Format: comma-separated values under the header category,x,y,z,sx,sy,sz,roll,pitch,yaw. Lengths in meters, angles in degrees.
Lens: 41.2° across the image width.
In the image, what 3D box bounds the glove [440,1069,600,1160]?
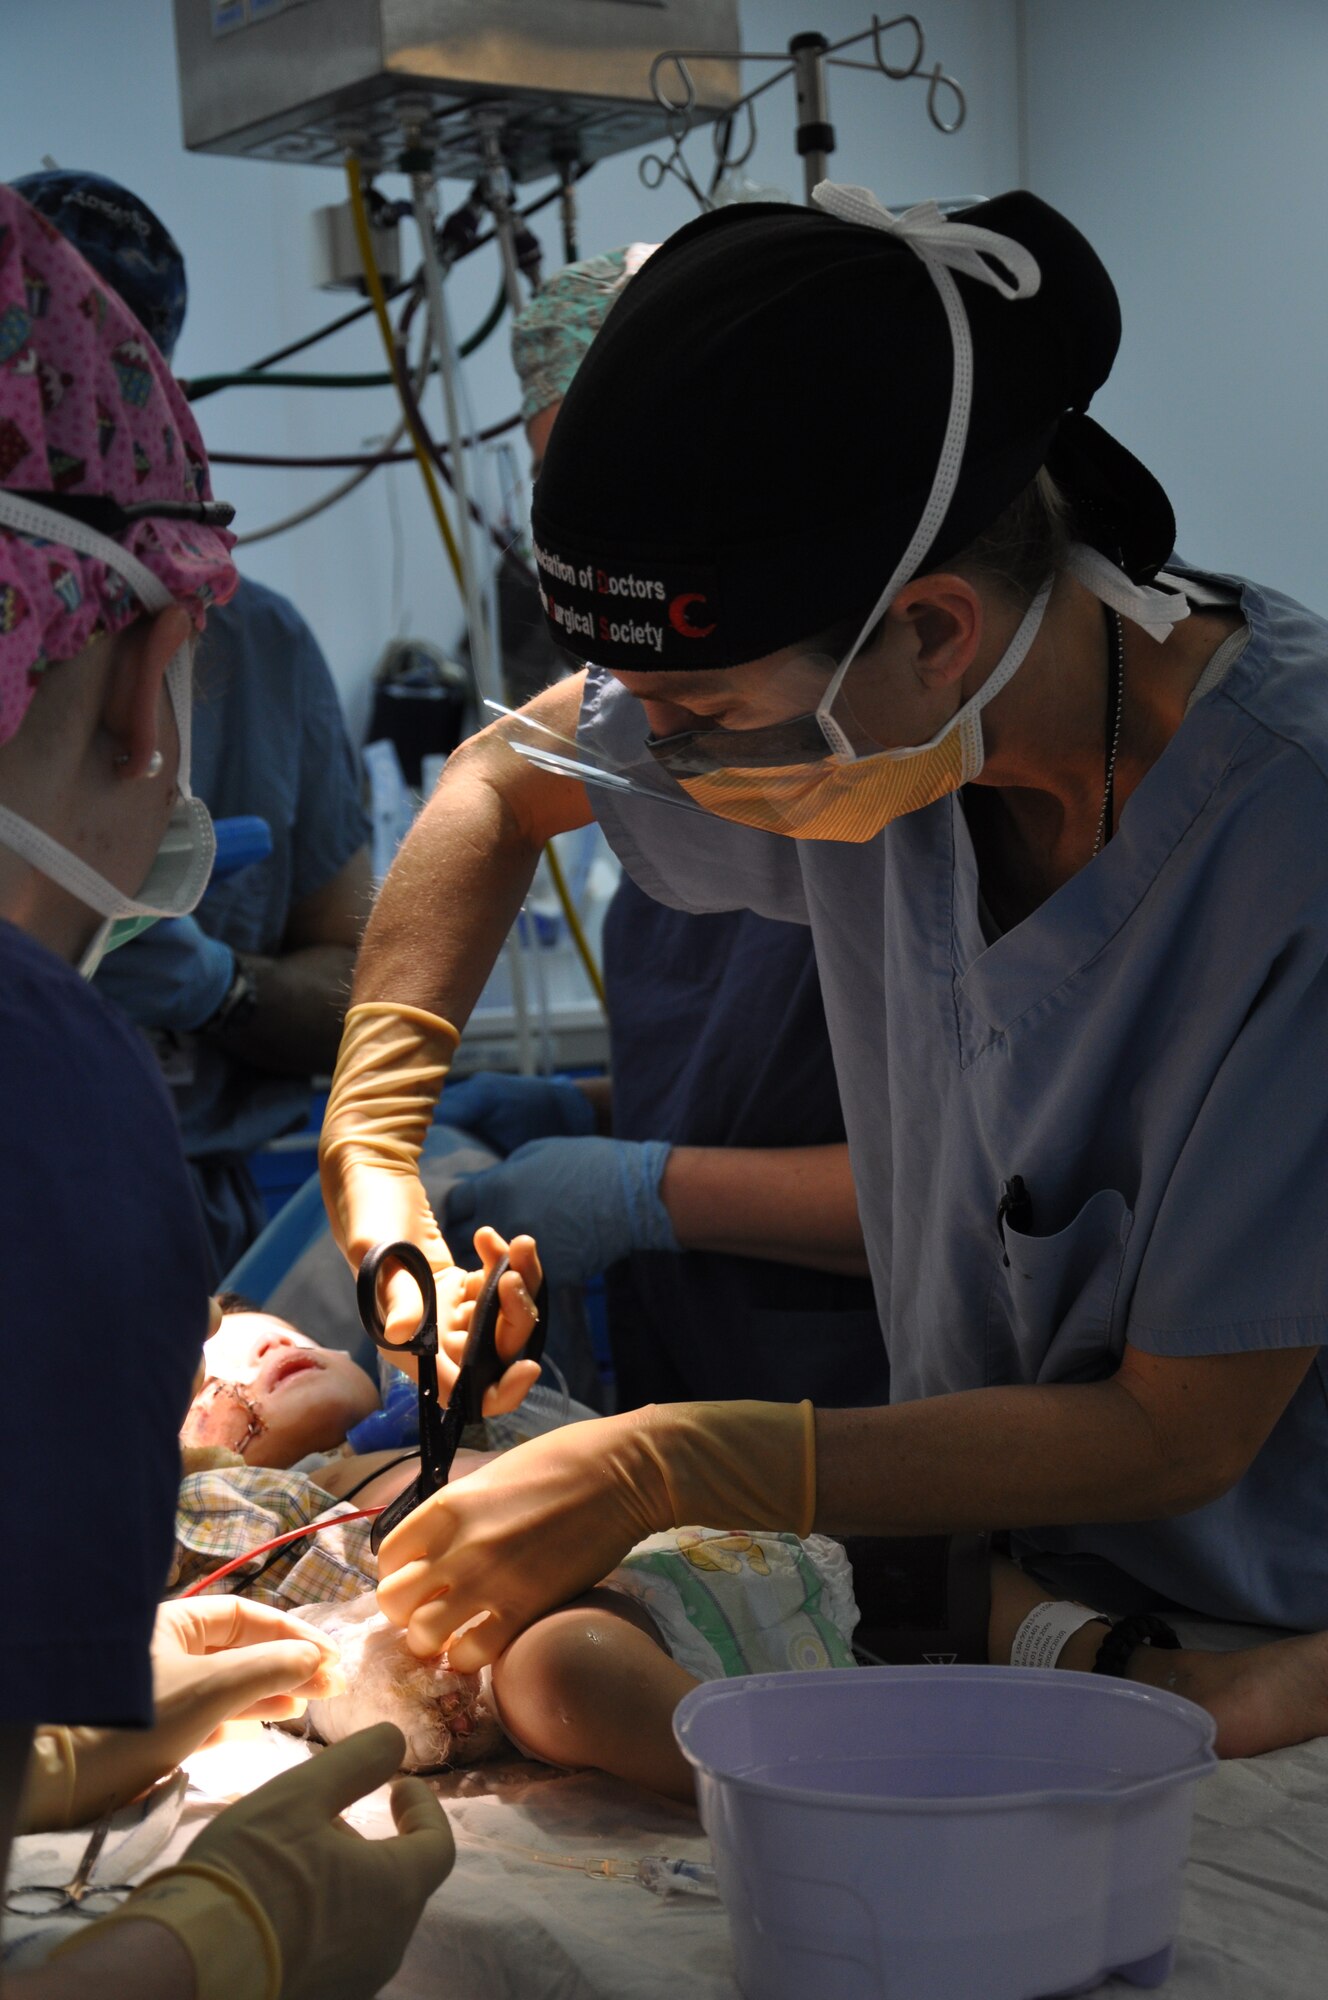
category,x,y,z,sx,sy,sz,roll,pitch,yaw
glove,-0.257,0.174,2.815,0.147,0.071,0.170,-4,7,-29

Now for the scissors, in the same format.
category,x,y,z,sx,sy,sz,roll,pitch,yaw
scissors,-0.202,0.349,1.607,0.055,0.296,0.176,8,4,-42

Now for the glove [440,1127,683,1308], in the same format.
category,x,y,z,sx,sy,sz,roll,pitch,yaw
glove,-0.145,0.257,2.292,0.228,0.098,0.234,8,10,31

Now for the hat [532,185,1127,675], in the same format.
category,x,y,z,sx,sy,sz,roll,pitch,yaw
hat,0.114,-0.409,1.264,0.265,0.320,0.371,14,24,40
